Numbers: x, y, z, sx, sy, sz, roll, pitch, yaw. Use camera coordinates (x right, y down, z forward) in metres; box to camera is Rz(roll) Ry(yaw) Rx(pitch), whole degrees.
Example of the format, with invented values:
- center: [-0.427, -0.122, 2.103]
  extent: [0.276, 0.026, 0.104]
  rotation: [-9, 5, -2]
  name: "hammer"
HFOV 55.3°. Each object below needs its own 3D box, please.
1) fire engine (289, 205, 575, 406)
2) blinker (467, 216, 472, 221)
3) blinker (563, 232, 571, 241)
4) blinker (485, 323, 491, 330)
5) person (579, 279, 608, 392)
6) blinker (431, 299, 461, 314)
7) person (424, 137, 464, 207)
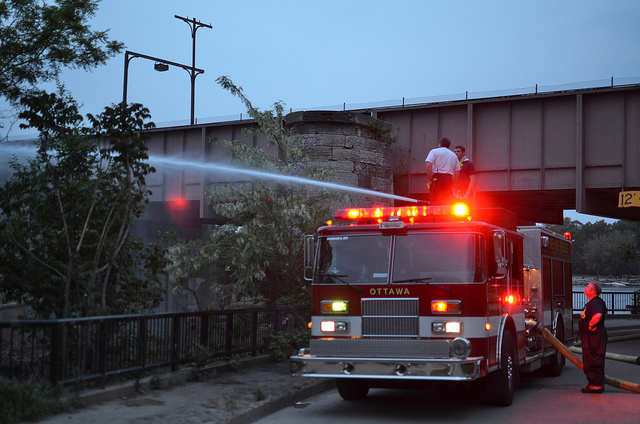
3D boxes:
- center: [3.696, 2.244, 15.495]
  extent: [4.157, 4.254, 10.055]
  rotation: [-6, -9, 33]
  name: "fire engine"
- center: [2.981, 0.127, 12.142]
  extent: [0.086, 0.090, 0.086]
  rotation: [5, 15, 28]
  name: "blinker"
- center: [6.989, 0.675, 17.183]
  extent: [0.184, 0.258, 0.092]
  rotation: [-4, -10, 1]
  name: "blinker"
- center: [3.159, 2.157, 11.444]
  extent: [0.118, 0.120, 0.027]
  rotation: [3, -2, -31]
  name: "blinker"
- center: [6.146, 2.780, 13.695]
  extent: [0.563, 2.402, 1.013]
  rotation: [1, -3, 24]
  name: "person"
- center: [2.343, 1.767, 11.351]
  extent: [0.541, 0.273, 0.063]
  rotation: [2, -2, 5]
  name: "blinker"
- center: [2.942, -0.969, 14.576]
  extent: [0.855, 1.604, 0.443]
  rotation: [2, -2, -5]
  name: "person"
